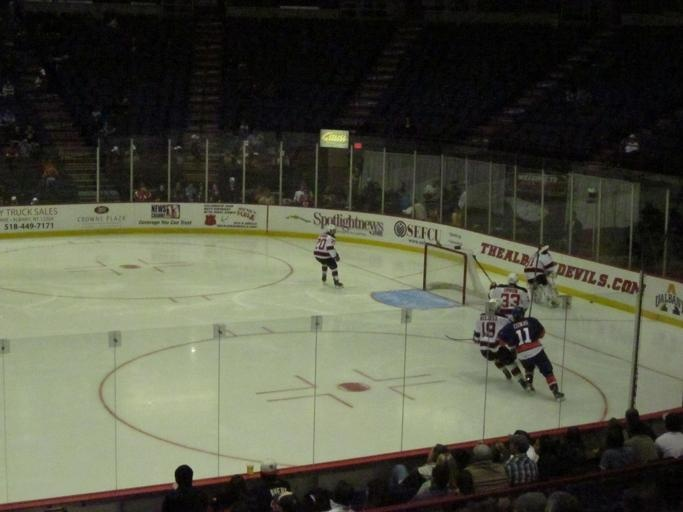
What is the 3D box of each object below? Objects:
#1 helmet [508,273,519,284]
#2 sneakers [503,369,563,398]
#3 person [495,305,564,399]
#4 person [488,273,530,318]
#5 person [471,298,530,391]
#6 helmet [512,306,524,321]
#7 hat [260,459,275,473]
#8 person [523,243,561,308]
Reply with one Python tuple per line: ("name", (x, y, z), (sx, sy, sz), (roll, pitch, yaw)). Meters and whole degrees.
("helmet", (3.305, 0.401, 15.788), (0.185, 0.212, 0.201), (4, 29, 11))
("sneakers", (3.149, 2.100, 13.583), (0.153, 0.171, 0.562), (-45, 58, -13))
("person", (3.150, 1.606, 13.803), (0.740, 0.436, 1.475), (-3, 42, -4))
("person", (3.126, 0.753, 15.408), (0.710, 0.871, 0.319), (2, 2, 11))
("person", (2.739, 1.477, 14.152), (0.978, 1.556, 0.695), (-12, 7, 0))
("helmet", (3.032, 0.986, 14.113), (0.191, 0.217, 0.227), (3, 33, 13))
("hat", (-0.903, 2.596, 10.172), (0.193, 0.199, 0.211), (1, 10, -4))
("person", (4.781, 0.471, 19.544), (0.892, 1.406, 0.886), (1, -5, -31))
